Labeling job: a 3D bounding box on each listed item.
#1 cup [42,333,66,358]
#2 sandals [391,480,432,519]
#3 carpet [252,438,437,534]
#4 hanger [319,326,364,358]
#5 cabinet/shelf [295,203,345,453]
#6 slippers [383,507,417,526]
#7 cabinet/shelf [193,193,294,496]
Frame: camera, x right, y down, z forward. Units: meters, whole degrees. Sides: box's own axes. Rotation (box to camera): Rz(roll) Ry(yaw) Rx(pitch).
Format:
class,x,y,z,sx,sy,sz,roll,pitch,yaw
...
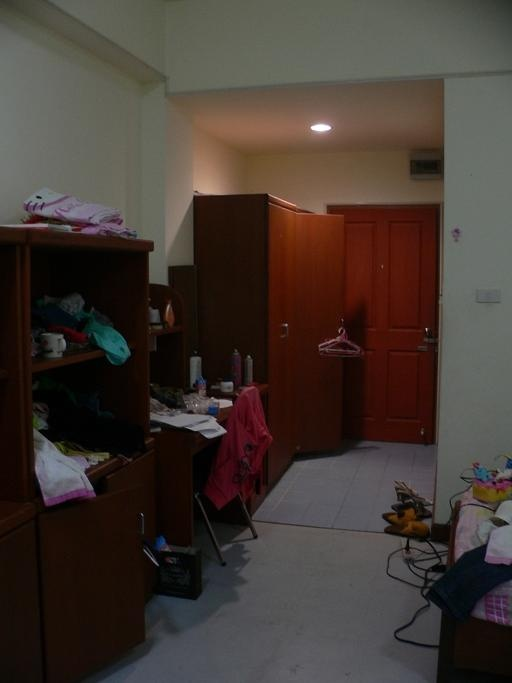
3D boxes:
class,x,y,z,sx,sy,sz,roll,pitch,yaw
cup,-0.594,0.010,1.637,0.054,0.072,0.126,0,3,5
sandals,0.926,0.941,3.291,0.110,0.239,0.291,-5,0,-40
carpet,0.743,1.005,4.041,1.075,0.017,2.466,-2,-1,17
hanger,0.679,0.005,4.387,0.210,0.195,0.034,5,0,5
cabinet/shelf,0.485,-0.056,4.387,0.444,1.928,0.364,-8,-17,39
slippers,0.817,0.985,3.080,0.202,0.108,0.074,-10,6,31
cabinet/shelf,-0.090,-0.124,3.798,0.710,1.928,0.483,-8,26,-18
